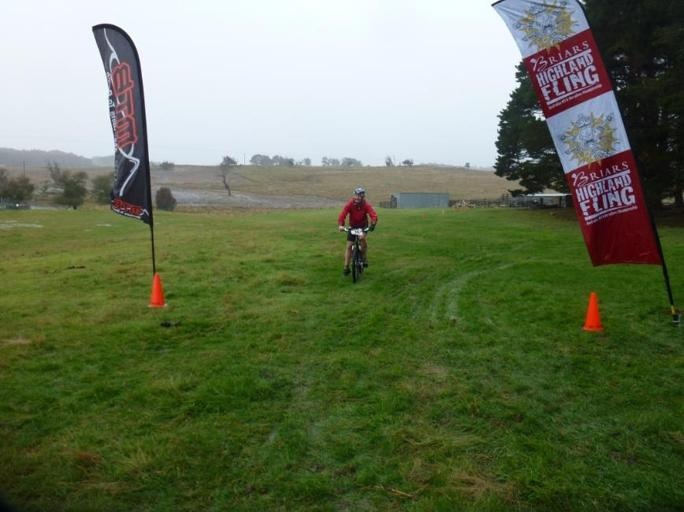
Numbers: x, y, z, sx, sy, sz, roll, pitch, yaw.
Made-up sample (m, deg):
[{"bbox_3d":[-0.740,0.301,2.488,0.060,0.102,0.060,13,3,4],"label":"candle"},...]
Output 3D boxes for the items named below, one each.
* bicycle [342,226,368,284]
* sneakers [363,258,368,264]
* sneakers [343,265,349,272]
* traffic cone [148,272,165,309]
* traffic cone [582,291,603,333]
[{"bbox_3d":[0.460,-0.073,14.222,0.595,1.352,1.229,-3,15,2],"label":"bicycle"},{"bbox_3d":[0.674,0.148,14.703,0.125,0.234,0.128,-2,-2,0],"label":"sneakers"},{"bbox_3d":[0.128,0.351,14.026,0.153,0.155,0.096,-1,-4,34],"label":"sneakers"},{"bbox_3d":[-4.175,0.672,12.188,0.351,0.714,1.182,-9,16,-18],"label":"traffic cone"},{"bbox_3d":[4.841,0.929,10.378,0.331,0.669,1.201,3,17,25],"label":"traffic cone"}]
